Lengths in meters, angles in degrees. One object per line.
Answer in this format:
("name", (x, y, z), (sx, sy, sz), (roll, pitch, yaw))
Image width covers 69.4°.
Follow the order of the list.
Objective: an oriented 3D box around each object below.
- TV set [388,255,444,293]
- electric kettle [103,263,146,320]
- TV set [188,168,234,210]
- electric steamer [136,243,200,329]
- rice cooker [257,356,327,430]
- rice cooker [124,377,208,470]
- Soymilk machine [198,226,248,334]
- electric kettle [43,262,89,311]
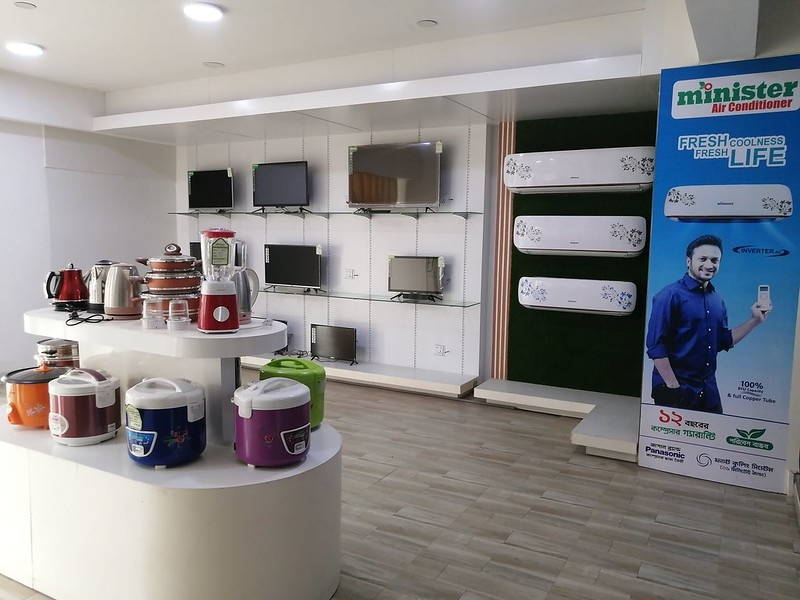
("TV set", (0.150, -0.263, 5.942), (0.670, 0.394, 0.055), (-1, 3, -27))
("electric kettle", (-1.480, -0.041, 3.151), (0.263, 0.267, 0.192), (4, 8, 43))
("TV set", (-2.325, -1.357, 7.101), (0.707, 0.484, 0.059), (3, 5, 22))
("electric steamer", (-1.206, -0.103, 3.058), (0.274, 0.462, 0.234), (9, 10, 29))
("rice cooker", (-0.550, 0.478, 3.164), (0.305, 0.385, 0.342), (-2, 10, -37))
("rice cooker", (-1.126, 0.559, 2.844), (0.330, 0.406, 0.314), (5, 8, -3))
("Soymilk machine", (-0.900, -0.097, 2.897), (0.247, 0.493, 0.182), (0, 1, -27))
("electric kettle", (-1.862, -0.081, 3.207), (0.164, 0.241, 0.222), (7, 8, 17))
